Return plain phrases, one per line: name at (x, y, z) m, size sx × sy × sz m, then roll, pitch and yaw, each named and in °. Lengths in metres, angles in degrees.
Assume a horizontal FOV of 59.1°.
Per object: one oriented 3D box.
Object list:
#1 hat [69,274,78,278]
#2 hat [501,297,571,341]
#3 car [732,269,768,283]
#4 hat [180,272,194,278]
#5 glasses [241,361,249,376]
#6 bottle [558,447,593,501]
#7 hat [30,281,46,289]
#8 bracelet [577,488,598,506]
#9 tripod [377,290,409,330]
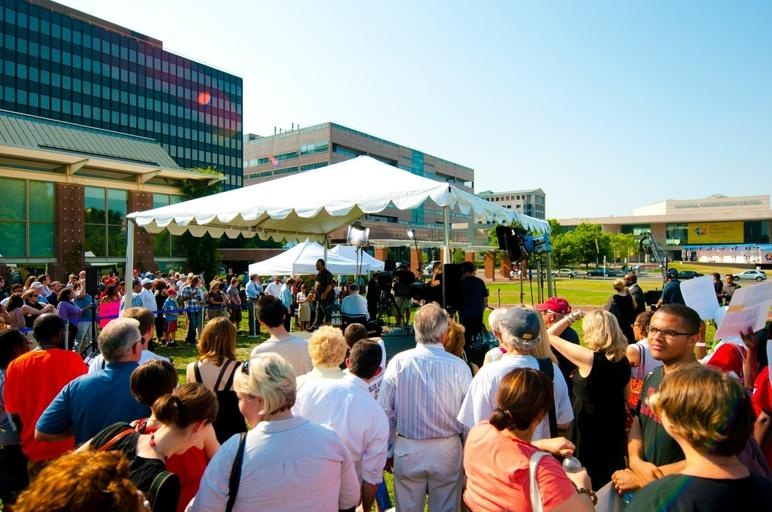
hat at (-11.341, 0.733, 24.673) m, size 0.372 × 0.187 × 0.541 m, roll 2°, pitch -2°, yaw -18°
hat at (2.548, 0.946, 10.443) m, size 0.524 × 0.488 × 0.848 m, roll 1°, pitch 16°, yaw -37°
car at (26.099, 1.443, 48.910) m, size 1.322 × 0.951 × 2.691 m, roll 2°, pitch 1°, yaw -38°
hat at (-7.240, 0.705, 24.678) m, size 0.460 × 0.117 × 0.479 m, roll -5°, pitch -5°, yaw 20°
glasses at (-1.694, 1.362, 8.185) m, size 0.091 × 0.124 × 0.109 m, roll -3°, pitch -38°, yaw 1°
bottle at (2.205, 2.516, 7.779) m, size 0.219 × 0.463 × 0.332 m, roll -43°, pitch -12°, yaw 12°
hat at (-7.981, 0.677, 15.584) m, size 0.301 × 0.138 × 0.445 m, roll 0°, pitch -2°, yaw 3°
bracelet at (2.261, 2.722, 7.739) m, size 0.258 × 0.256 × 0.077 m, roll 22°, pitch -37°, yaw -27°
tripod at (0.132, 1.450, 18.105) m, size 0.921 × 1.324 × 0.954 m, roll -1°, pitch -9°, yaw 0°
